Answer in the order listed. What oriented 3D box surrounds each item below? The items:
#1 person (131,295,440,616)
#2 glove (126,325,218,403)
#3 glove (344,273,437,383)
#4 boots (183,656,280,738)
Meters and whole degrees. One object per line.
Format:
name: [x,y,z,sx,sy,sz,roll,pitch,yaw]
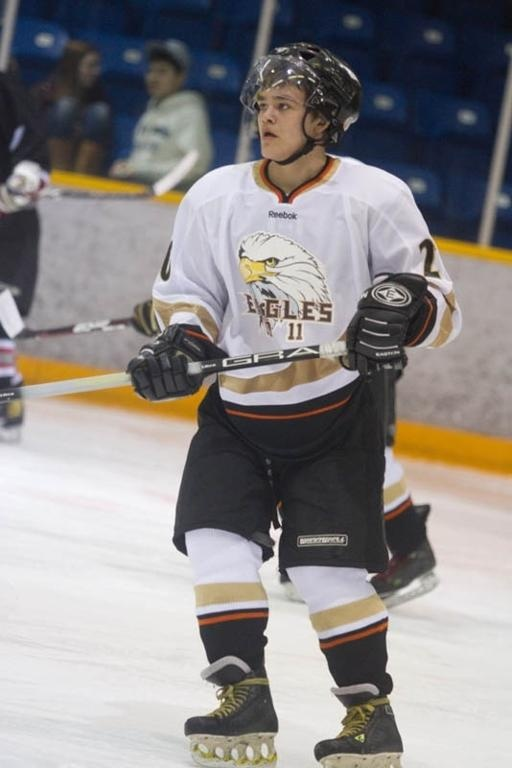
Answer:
person: [0.133,0.142,2.173,0.449,1.284,0.472,-8,4,23]
glove: [-0.117,-0.025,1.490,0.175,0.073,0.121,-20,3,-17]
glove: [0.230,-0.099,1.400,0.138,0.175,0.158,12,8,7]
boots: [-0.045,0.516,1.362,0.172,0.124,0.059,11,-29,-29]
